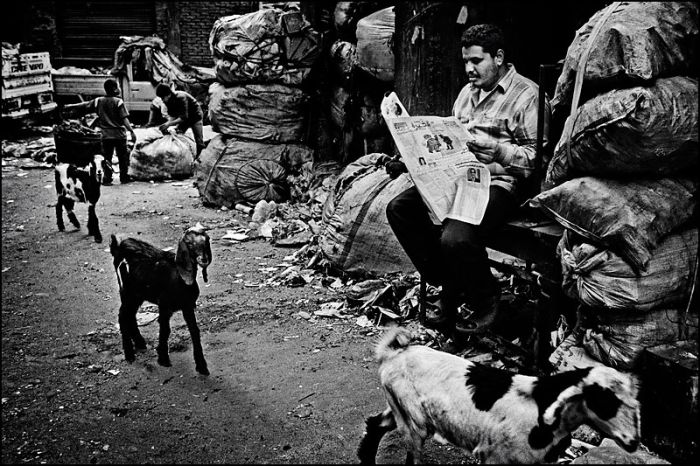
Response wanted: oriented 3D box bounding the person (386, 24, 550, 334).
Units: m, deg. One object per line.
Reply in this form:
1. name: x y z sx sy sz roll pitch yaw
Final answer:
1. person: 0.988 -0.374 4.272 1.017 2.498 0.868 -13 19 -32

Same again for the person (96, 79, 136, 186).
1. person: -4.691 -2.030 10.503 0.655 2.061 0.609 -11 19 -28

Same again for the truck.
1. truck: -7.158 -4.887 15.825 6.915 2.870 3.293 -2 23 -5

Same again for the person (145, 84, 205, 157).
1. person: -3.615 -2.397 11.164 0.852 1.490 0.590 -7 17 -17
